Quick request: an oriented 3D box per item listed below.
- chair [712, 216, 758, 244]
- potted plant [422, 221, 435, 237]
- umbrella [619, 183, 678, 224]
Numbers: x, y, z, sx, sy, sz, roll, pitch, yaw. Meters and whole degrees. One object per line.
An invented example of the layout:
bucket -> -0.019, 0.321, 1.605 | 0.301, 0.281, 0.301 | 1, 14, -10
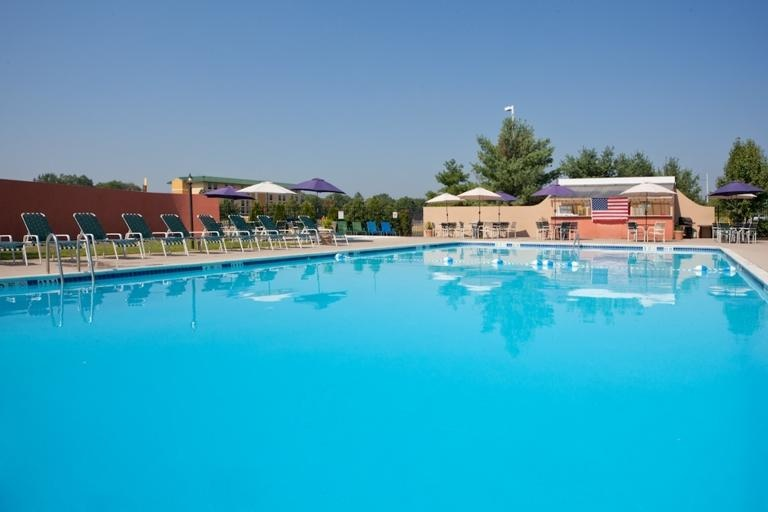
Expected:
chair -> 12.736, -1.223, 20.377 | 1.423, 0.956, 1.496 | 0, 0, 32
potted plant -> 2.270, -1.378, 28.482 | 0.623, 0.776, 0.692 | -1, 1, 17
umbrella -> 10.015, -2.335, 21.449 | 2.034, 1.479, 1.872 | -1, 2, 5
